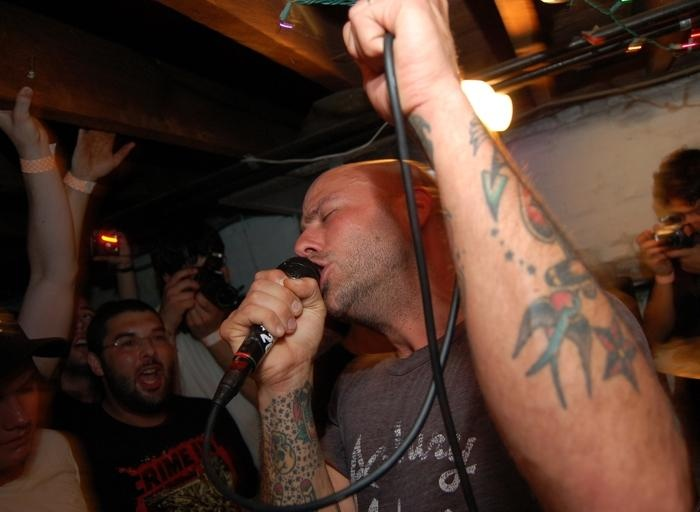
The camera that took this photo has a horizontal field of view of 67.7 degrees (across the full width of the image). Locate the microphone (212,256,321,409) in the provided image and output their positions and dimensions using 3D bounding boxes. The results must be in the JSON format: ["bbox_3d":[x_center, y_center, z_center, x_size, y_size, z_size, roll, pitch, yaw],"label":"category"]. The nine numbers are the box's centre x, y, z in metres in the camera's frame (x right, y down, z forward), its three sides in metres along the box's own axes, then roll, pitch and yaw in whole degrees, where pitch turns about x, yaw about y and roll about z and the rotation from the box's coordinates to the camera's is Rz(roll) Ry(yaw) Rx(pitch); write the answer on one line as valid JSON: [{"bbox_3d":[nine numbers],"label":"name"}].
[{"bbox_3d":[-0.324,0.301,1.785,0.172,0.172,0.714,14,35,11],"label":"microphone"}]

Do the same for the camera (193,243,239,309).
[{"bbox_3d":[-0.942,0.175,3.669,0.300,0.313,0.337,0,17,-11],"label":"camera"}]
